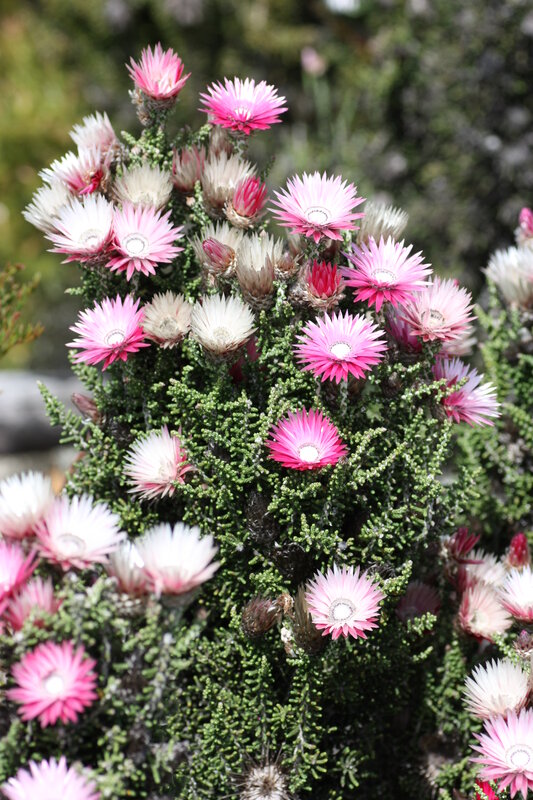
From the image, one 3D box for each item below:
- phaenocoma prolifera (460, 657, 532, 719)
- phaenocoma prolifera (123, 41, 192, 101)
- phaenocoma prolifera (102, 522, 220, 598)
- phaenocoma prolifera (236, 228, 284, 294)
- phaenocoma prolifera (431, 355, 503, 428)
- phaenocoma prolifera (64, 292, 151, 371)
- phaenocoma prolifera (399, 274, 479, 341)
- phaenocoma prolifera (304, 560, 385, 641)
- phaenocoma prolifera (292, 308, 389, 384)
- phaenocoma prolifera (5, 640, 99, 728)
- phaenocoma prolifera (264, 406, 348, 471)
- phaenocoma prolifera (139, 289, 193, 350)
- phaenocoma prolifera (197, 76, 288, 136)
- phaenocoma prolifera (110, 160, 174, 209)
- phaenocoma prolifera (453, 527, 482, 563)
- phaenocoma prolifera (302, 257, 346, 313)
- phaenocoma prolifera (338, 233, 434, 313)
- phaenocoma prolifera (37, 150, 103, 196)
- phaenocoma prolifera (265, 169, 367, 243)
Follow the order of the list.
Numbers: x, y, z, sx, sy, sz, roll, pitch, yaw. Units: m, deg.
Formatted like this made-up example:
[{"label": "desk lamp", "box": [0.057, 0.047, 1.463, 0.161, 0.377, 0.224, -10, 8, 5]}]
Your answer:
[{"label": "phaenocoma prolifera", "box": [0.285, 0.352, 1.173, 0.074, 0.039, 0.073, -47, 58, 1]}, {"label": "phaenocoma prolifera", "box": [-0.142, -0.413, 1.265, 0.093, 0.050, 0.082, -26, 29, 4]}, {"label": "phaenocoma prolifera", "box": [-0.110, 0.181, 1.010, 0.096, 0.048, 0.094, -11, 41, 9]}, {"label": "phaenocoma prolifera", "box": [-0.009, -0.170, 1.207, 0.057, 0.062, 0.061, -35, 52, -10]}, {"label": "phaenocoma prolifera", "box": [0.255, 0.005, 1.264, 0.052, 0.094, 0.091, -34, 25, 32]}, {"label": "phaenocoma prolifera", "box": [-0.194, -0.073, 1.196, 0.101, 0.046, 0.089, -36, 69, -2]}, {"label": "phaenocoma prolifera", "box": [0.214, -0.110, 1.205, 0.092, 0.043, 0.081, 1, 72, 4]}, {"label": "phaenocoma prolifera", "box": [0.093, 0.227, 1.089, 0.087, 0.037, 0.086, 38, 70, 26]}, {"label": "phaenocoma prolifera", "box": [0.086, -0.064, 1.134, 0.098, 0.039, 0.095, -37, 61, -20]}, {"label": "phaenocoma prolifera", "box": [-0.214, 0.281, 0.965, 0.086, 0.034, 0.079, -4, 58, -6]}, {"label": "phaenocoma prolifera", "box": [0.045, 0.043, 1.106, 0.084, 0.034, 0.076, -5, 59, 0]}, {"label": "phaenocoma prolifera", "box": [-0.123, -0.102, 1.211, 0.072, 0.031, 0.064, -12, 82, -16]}, {"label": "phaenocoma prolifera", "box": [-0.034, -0.368, 1.221, 0.082, 0.036, 0.084, 32, 60, 32]}, {"label": "phaenocoma prolifera", "box": [-0.159, -0.277, 1.258, 0.071, 0.033, 0.068, 32, 71, 10]}, {"label": "phaenocoma prolifera", "box": [0.282, 0.199, 1.360, 0.030, 0.051, 0.047, 9, 96, 26]}, {"label": "phaenocoma prolifera", "box": [0.064, -0.136, 1.189, 0.060, 0.050, 0.055, -9, 72, -3]}, {"label": "phaenocoma prolifera", "box": [0.154, -0.158, 1.195, 0.112, 0.044, 0.105, -24, 50, -14]}, {"label": "phaenocoma prolifera", "box": [-0.250, -0.285, 1.268, 0.075, 0.038, 0.067, -16, 47, 3]}, {"label": "phaenocoma prolifera", "box": [0.073, -0.239, 1.203, 0.113, 0.055, 0.107, -25, 65, -25]}]
